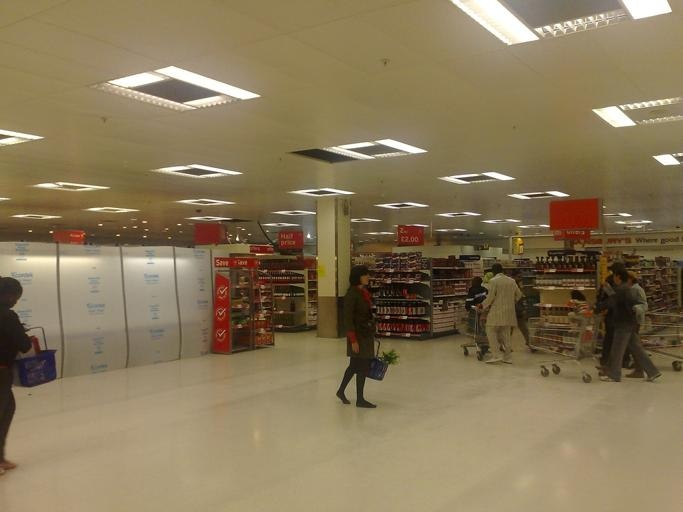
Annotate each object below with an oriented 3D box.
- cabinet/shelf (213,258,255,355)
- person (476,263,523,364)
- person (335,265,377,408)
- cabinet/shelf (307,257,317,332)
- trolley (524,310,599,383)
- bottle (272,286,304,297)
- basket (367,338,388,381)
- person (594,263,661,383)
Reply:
[{"bbox_3d":[-2.443,1.241,11.181,0.742,2.216,1.150,-3,-4,33],"label":"cabinet/shelf"},{"bbox_3d":[3.243,1.294,9.461,0.606,1.802,0.802,-2,-2,43],"label":"person"},{"bbox_3d":[0.224,1.123,6.525,0.474,1.946,0.454,0,-1,-13],"label":"person"},{"bbox_3d":[-0.966,1.366,14.846,0.184,1.883,0.637,-1,-2,26],"label":"cabinet/shelf"},{"bbox_3d":[4.024,1.605,8.254,0.697,1.077,1.141,5,-6,-37],"label":"trolley"},{"bbox_3d":[-1.587,1.070,14.232,0.969,0.350,0.300,0,-1,-19],"label":"bottle"},{"bbox_3d":[0.504,1.501,6.466,0.188,0.447,0.333,21,-8,-21],"label":"basket"},{"bbox_3d":[4.852,1.144,7.879,0.993,1.997,0.753,1,-2,-44],"label":"person"}]
